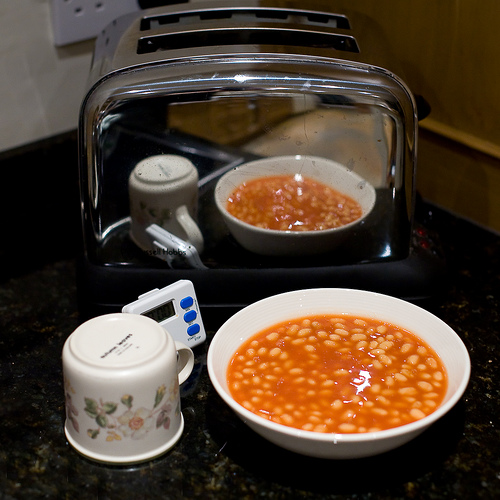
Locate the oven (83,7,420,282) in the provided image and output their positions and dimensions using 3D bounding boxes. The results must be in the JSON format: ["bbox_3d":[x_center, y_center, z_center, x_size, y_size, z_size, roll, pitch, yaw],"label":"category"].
[{"bbox_3d":[-0.004,-0.131,0.772,0.483,0.367,0.374,-1,33,-3],"label":"oven"}]

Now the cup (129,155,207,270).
[{"bbox_3d":[-0.121,-0.074,0.753,0.079,0.152,0.151,-15,41,-24],"label":"cup"}]

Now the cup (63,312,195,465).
[{"bbox_3d":[-0.144,0.156,0.615,0.123,0.154,0.158,22,33,30],"label":"cup"}]

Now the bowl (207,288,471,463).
[{"bbox_3d":[0.117,0.168,0.662,0.320,0.095,0.366,2,18,17],"label":"bowl"}]
